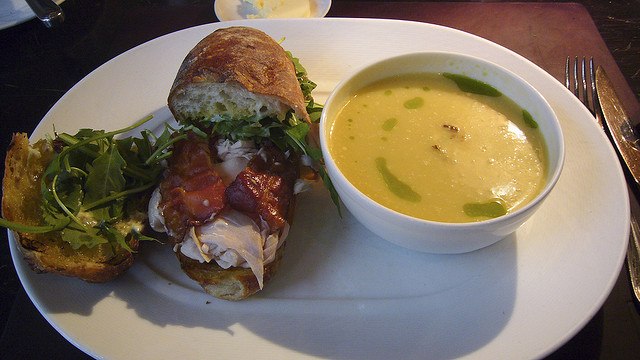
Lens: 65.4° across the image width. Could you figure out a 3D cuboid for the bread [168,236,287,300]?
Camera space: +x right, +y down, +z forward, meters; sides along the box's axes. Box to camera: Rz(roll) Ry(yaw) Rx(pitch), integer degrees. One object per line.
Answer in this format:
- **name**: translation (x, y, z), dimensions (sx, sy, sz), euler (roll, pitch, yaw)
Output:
- **bread**: translation (-0.383, 0.419, 2.254), dimensions (0.394, 0.134, 0.299), euler (-15, 80, -11)
